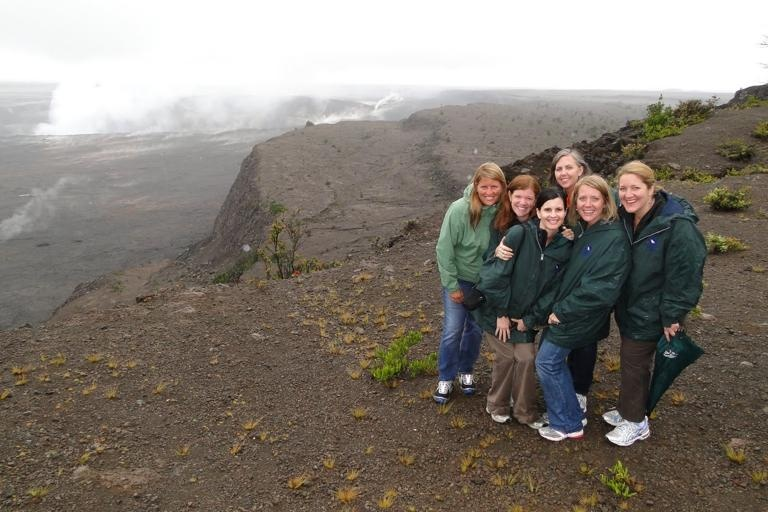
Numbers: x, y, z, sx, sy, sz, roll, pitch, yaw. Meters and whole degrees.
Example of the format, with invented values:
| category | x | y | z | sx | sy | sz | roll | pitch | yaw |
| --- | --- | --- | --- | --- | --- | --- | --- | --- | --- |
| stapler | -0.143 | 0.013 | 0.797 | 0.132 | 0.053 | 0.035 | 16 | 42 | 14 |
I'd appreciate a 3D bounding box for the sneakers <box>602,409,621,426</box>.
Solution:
| category | x | y | z | sx | sy | sz | roll | pitch | yaw |
| --- | --- | --- | --- | --- | --- | --- | --- | --- | --- |
| sneakers | 3.942 | 2.773 | 8.611 | 0.325 | 0.170 | 0.223 | 19 | 7 | 36 |
